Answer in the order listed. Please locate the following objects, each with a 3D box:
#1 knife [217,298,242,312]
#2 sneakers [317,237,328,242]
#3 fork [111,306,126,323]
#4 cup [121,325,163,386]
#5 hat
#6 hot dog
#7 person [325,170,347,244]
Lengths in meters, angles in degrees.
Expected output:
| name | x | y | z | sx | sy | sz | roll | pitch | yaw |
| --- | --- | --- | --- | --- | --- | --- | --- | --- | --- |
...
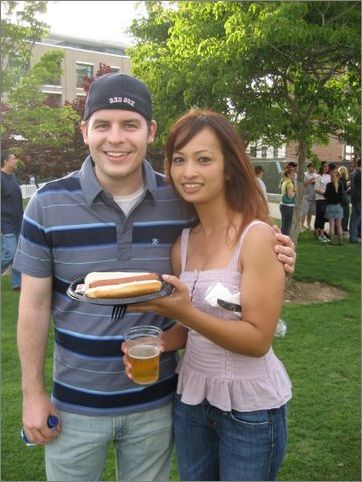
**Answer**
| name | x | y | z | sx | sy | sz | roll | pitch | yaw |
| --- | --- | --- | --- | --- | --- | --- | --- | --- | --- |
| knife | 0.188 | 0.258 | 1.684 | 0.094 | 0.062 | 0.029 | 0 | 10 | 3 |
| sneakers | 4.298 | -0.041 | 13.000 | 0.139 | 0.158 | 0.399 | 4 | 6 | 27 |
| fork | -0.221 | 0.256 | 1.536 | 0.057 | 0.016 | 0.100 | 8 | -34 | -8 |
| cup | -0.170 | 0.446 | 1.738 | 0.246 | 0.238 | 0.219 | 0 | -7 | -14 |
| hat | -0.270 | -0.651 | 1.904 | 0.307 | 0.182 | 0.306 | 6 | 7 | 7 |
| hot dog | -0.202 | 0.152 | 1.496 | 0.209 | 0.054 | 0.111 | 0 | 19 | -10 |
| person | 4.405 | -0.966 | 12.317 | 0.564 | 2.134 | 0.799 | 4 | 11 | 19 |
